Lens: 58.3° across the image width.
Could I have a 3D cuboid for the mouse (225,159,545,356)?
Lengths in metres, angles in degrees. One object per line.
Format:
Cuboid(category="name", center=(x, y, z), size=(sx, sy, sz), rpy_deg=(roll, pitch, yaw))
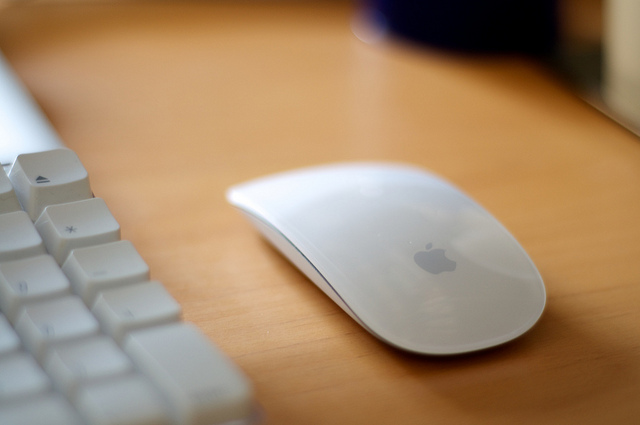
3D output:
Cuboid(category="mouse", center=(0.057, 0.027, 0.484), size=(0.135, 0.065, 0.227), rpy_deg=(-14, 34, -33))
